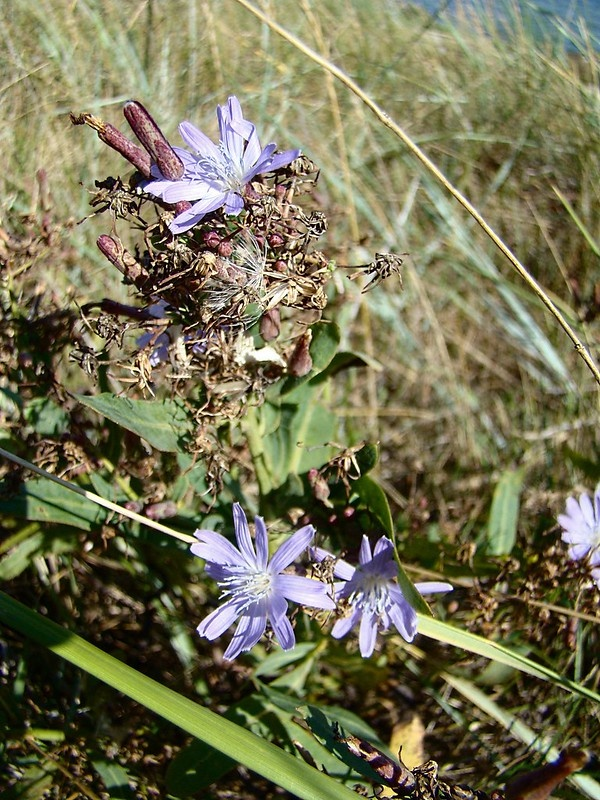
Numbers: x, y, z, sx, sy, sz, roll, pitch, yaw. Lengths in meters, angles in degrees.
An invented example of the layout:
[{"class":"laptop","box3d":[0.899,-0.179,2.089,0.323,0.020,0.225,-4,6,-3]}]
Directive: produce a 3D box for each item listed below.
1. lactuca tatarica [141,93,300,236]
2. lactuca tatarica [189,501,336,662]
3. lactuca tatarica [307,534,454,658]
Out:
[{"class":"lactuca tatarica","box3d":[-0.159,-0.471,1.497,0.279,0.226,0.290,7,40,-15]},{"class":"lactuca tatarica","box3d":[-0.052,0.348,1.620,0.344,0.317,0.155,-11,-4,20]},{"class":"lactuca tatarica","box3d":[0.170,0.407,1.658,0.322,0.291,0.107,23,21,10]}]
